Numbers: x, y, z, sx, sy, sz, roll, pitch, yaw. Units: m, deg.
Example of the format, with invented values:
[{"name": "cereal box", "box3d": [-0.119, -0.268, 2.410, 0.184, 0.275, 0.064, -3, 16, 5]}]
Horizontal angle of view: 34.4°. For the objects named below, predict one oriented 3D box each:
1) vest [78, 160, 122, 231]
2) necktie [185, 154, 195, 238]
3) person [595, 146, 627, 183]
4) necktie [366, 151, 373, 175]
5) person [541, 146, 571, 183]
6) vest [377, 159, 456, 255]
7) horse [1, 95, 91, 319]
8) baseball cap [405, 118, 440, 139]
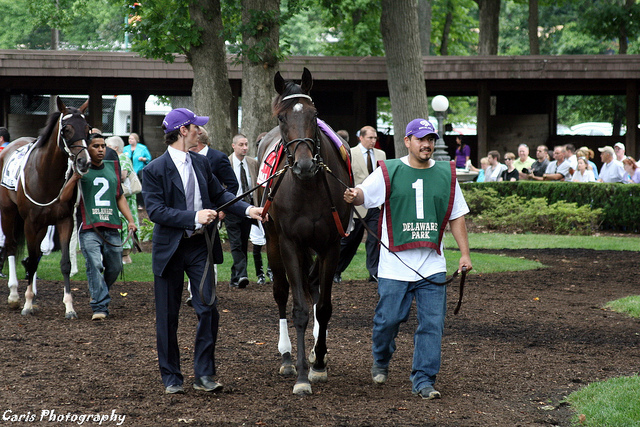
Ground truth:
[{"name": "vest", "box3d": [-4.105, -0.343, 19.494, 0.784, 1.300, 0.365, -3, 7, -19]}, {"name": "necktie", "box3d": [-2.115, -0.524, 17.078, 0.138, 0.905, 0.140, -1, 6, -6]}, {"name": "person", "box3d": [7.514, -1.269, 26.726, 0.660, 0.879, 1.301, 1, 6, 16]}, {"name": "necktie", "box3d": [1.036, -1.075, 21.589, 0.107, 0.448, 0.202, 1, 7, 15]}, {"name": "person", "box3d": [6.330, -1.229, 27.515, 0.699, 1.050, 0.877, -4, 4, -39]}, {"name": "vest", "box3d": [1.654, -0.084, 17.471, 1.138, 1.637, 1.121, 0, 0, 3]}, {"name": "horse", "box3d": [-5.357, -0.173, 19.922, 1.347, 4.136, 2.726, -5, 8, -36]}, {"name": "baseball cap", "box3d": [1.626, -1.393, 16.942, 0.319, 0.214, 0.446, 1, 0, -31]}]
